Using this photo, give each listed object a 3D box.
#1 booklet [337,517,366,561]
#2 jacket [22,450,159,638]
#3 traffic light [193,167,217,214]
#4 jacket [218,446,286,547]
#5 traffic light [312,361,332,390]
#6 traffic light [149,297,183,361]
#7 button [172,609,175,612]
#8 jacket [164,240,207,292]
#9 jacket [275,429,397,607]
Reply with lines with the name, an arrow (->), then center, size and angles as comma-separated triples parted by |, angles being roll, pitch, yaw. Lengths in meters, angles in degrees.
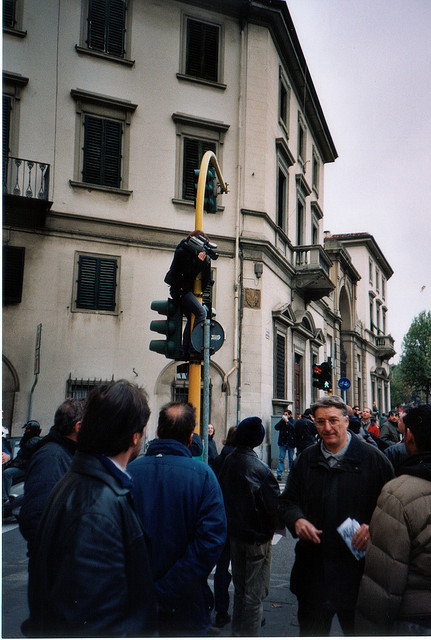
booklet -> 0.725, 1.183, 3.085 | 0.167, 0.180, 0.047 | -35, -7, -32
jacket -> -0.437, 0.753, 1.991 | 0.348, 0.833, 0.763 | 0, -12, -12
traffic light -> -0.105, -1.575, 6.916 | 0.202, 0.579, 0.186 | 1, 12, 10
jacket -> 0.225, 1.189, 4.366 | 0.407, 0.972, 0.655 | 2, -7, -32
traffic light -> 3.033, 1.575, 16.015 | 0.462, 1.052, 0.721 | -4, -6, 28
traffic light -> -0.549, 0.099, 6.215 | 0.362, 0.653, 0.297 | 2, -7, 0
button -> -0.199, 1.365, 2.681 | 0.012, 0.018, 0.008 | 1, 0, 26
jacket -> -0.356, -0.610, 6.263 | 0.293, 0.597, 0.417 | 14, 16, -2
jacket -> 0.734, 1.202, 3.425 | 0.540, 1.046, 0.449 | 2, 7, 23
